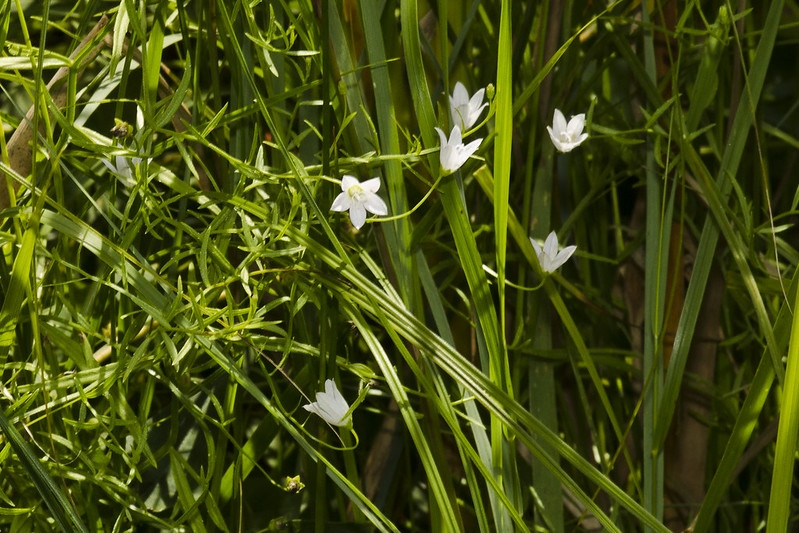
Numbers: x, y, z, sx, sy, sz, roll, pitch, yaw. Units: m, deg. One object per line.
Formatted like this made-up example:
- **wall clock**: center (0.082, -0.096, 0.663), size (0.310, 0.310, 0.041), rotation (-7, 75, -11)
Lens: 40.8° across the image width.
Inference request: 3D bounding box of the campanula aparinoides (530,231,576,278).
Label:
- **campanula aparinoides**: center (0.121, -0.004, 0.875), size (0.037, 0.030, 0.044), rotation (9, 8, 2)

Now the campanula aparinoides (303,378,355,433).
- **campanula aparinoides**: center (-0.055, 0.109, 0.829), size (0.031, 0.033, 0.041), rotation (26, 73, -3)

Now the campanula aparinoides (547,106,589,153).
- **campanula aparinoides**: center (0.139, -0.115, 0.887), size (0.031, 0.022, 0.041), rotation (-13, 77, 12)

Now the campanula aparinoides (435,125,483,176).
- **campanula aparinoides**: center (0.038, -0.082, 0.824), size (0.021, 0.027, 0.024), rotation (30, 18, 15)
